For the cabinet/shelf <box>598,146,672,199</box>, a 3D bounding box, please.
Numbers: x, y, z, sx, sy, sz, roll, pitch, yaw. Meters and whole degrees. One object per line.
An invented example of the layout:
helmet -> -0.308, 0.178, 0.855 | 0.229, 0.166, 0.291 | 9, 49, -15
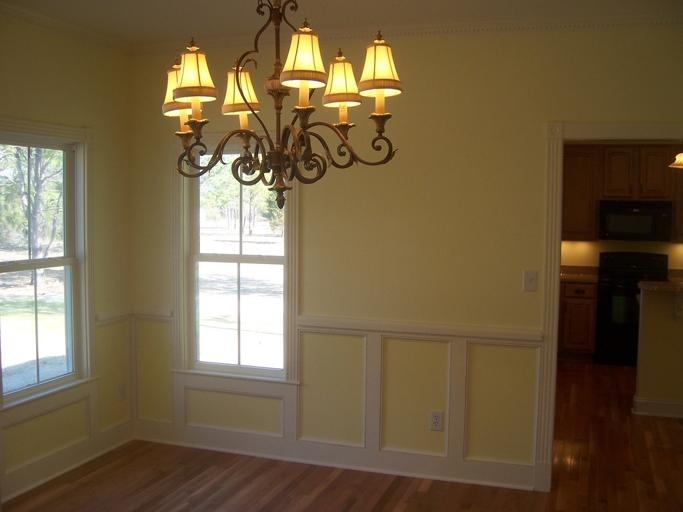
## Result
cabinet/shelf -> 3.368, -0.976, 6.709 | 0.539, 0.520, 0.218 | 1, 1, 15

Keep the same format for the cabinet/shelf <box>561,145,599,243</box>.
cabinet/shelf -> 2.790, -0.754, 6.879 | 0.412, 1.087, 0.142 | 5, 10, 25

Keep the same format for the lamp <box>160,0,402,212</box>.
lamp -> -0.329, -1.012, 3.798 | 1.099, 1.482, 1.393 | 5, 12, 31
